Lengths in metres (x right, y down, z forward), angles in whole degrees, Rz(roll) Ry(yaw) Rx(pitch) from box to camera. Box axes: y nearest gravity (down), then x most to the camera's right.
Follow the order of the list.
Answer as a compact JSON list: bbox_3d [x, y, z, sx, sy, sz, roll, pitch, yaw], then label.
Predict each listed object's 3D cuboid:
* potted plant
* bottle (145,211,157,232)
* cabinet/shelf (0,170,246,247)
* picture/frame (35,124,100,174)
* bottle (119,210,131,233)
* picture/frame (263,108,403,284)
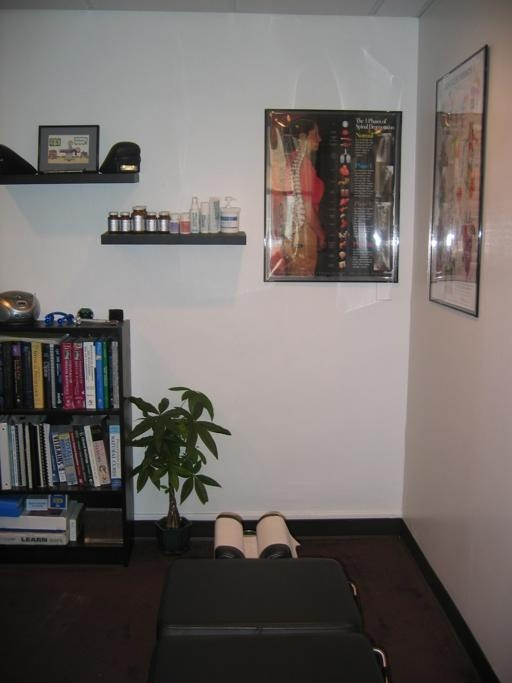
[{"bbox_3d":[-0.369,0.622,2.561,0.368,0.746,0.343,10,-12,-41],"label":"potted plant"},{"bbox_3d":[-0.485,-0.561,2.572,0.062,0.120,0.071,0,2,-11],"label":"bottle"},{"bbox_3d":[-0.599,-0.619,2.577,1.094,0.328,0.260,1,6,0],"label":"cabinet/shelf"},{"bbox_3d":[-0.869,-0.896,2.578,0.212,0.203,0.019,0,-6,-3],"label":"picture/frame"},{"bbox_3d":[-0.597,-0.549,2.543,0.064,0.134,0.071,0,1,-5],"label":"bottle"},{"bbox_3d":[0.362,-0.759,2.725,0.684,0.989,0.035,0,8,-4],"label":"picture/frame"}]
